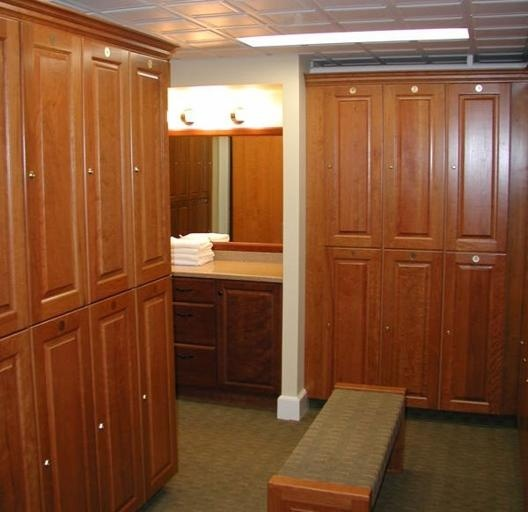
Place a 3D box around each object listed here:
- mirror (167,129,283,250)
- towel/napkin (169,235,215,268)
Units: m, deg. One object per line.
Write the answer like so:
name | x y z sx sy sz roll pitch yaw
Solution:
mirror | -0.328 -0.674 4.648 1.323 1.163 0.062 1 10 11
towel/napkin | -0.667 -0.041 4.739 0.352 0.151 0.306 0 2 9
